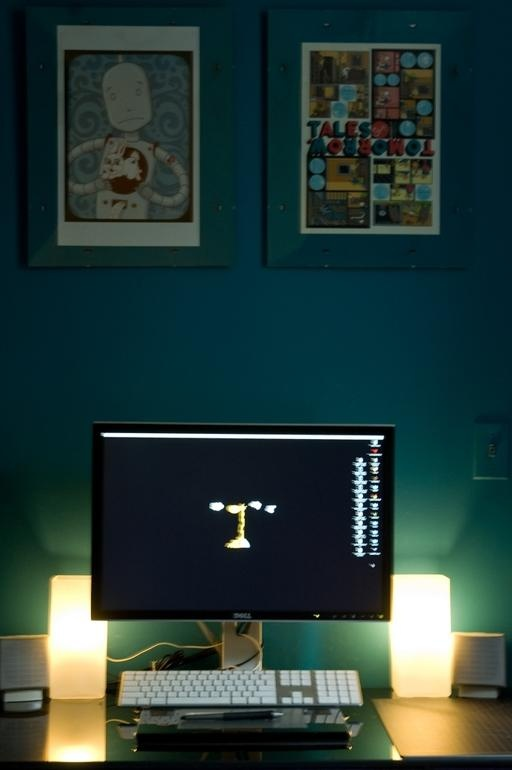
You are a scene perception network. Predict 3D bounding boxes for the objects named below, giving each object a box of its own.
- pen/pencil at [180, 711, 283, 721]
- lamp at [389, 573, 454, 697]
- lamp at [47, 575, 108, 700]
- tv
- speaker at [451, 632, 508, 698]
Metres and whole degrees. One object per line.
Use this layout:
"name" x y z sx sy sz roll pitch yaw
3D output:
"pen/pencil" -0.054 0.631 1.546 0.155 0.016 0.017 -1 -1 -3
"lamp" 0.348 0.541 1.726 0.119 0.253 0.102 0 15 6
"lamp" -0.379 0.549 1.762 0.157 0.249 0.151 4 -19 -21
"tv" -0.034 0.315 1.676 0.557 0.397 0.147 1 -8 0
"speaker" 0.462 0.593 1.767 0.149 0.161 0.115 0 -13 3
